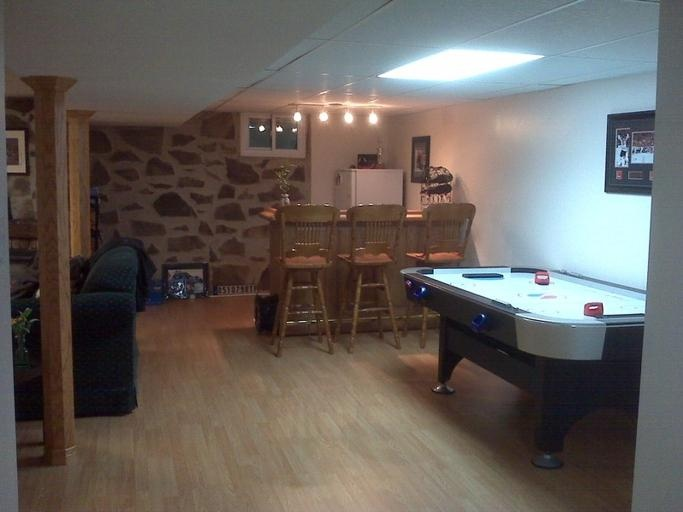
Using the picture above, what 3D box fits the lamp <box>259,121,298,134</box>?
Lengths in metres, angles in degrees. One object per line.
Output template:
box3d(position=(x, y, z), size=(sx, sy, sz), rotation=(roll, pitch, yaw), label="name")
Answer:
box3d(position=(-0.838, -1.683, 6.952), size=(0.508, 0.112, 0.076), rotation=(-2, 9, -16), label="lamp")

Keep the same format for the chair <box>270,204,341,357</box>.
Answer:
box3d(position=(-0.339, 0.175, 4.832), size=(0.607, 1.298, 0.842), rotation=(0, 9, -1), label="chair")

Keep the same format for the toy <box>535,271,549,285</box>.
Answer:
box3d(position=(1.402, 0.156, 3.699), size=(0.066, 0.047, 0.108), rotation=(4, 12, 16), label="toy")

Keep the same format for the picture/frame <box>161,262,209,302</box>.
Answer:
box3d(position=(-2.066, 0.328, 7.032), size=(0.589, 0.463, 0.318), rotation=(-2, 17, -21), label="picture/frame")

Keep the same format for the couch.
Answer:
box3d(position=(-2.162, 0.406, 4.158), size=(1.022, 0.984, 2.071), rotation=(4, 6, -22), label="couch")

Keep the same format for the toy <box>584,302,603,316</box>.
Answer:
box3d(position=(1.269, 0.264, 2.661), size=(0.078, 0.067, 0.075), rotation=(2, 11, 20), label="toy")

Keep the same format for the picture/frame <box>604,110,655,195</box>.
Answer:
box3d(position=(2.015, -0.719, 3.670), size=(0.185, 0.581, 0.483), rotation=(-1, 9, -9), label="picture/frame")
